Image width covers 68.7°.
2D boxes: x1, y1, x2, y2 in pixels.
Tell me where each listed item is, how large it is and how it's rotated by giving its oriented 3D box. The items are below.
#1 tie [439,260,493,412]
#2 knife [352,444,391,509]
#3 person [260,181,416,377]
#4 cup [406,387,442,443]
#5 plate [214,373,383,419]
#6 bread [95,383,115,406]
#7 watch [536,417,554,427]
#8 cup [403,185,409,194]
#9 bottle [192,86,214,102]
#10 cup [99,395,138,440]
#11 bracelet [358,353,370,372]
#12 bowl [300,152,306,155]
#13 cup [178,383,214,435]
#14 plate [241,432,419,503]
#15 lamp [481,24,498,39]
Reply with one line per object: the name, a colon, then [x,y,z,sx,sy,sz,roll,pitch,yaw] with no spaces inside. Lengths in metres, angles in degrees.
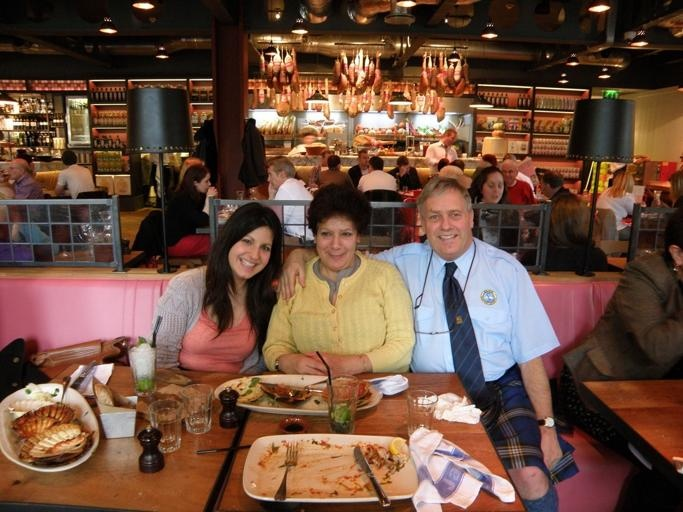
tie: [0.563,0.371,2.248,0.159,0.623,0.062,-15,-14,19]
knife: [0.095,0.648,1.476,0.042,0.020,0.238,-24,16,-4]
person: [-0.018,0.153,2.343,0.758,0.905,0.545,0,11,6]
cup: [0.266,0.529,1.664,0.141,0.152,0.132,0,2,0]
plate: [-0.202,0.529,1.864,0.380,0.038,0.228,1,7,3]
bread: [-0.832,0.492,1.749,0.025,0.081,0.074,-28,-28,10]
watch: [0.857,0.691,2.096,0.061,0.037,0.061,-5,-11,10]
cup: [1.009,-1.028,7.684,0.140,0.139,0.131,0,5,0]
bottle: [-2.852,-3.300,10.103,0.386,0.328,0.229,-1,12,-1]
cup: [-0.756,0.548,1.699,0.112,0.091,0.130,0,3,-13]
bracelet: [0.106,0.462,2.140,0.046,0.056,0.057,2,26,-12]
bowl: [-0.695,-1.858,9.000,0.067,0.044,0.063,-1,5,0]
cup: [-0.463,0.532,1.742,0.150,0.152,0.144,-1,2,0]
plate: [-0.045,0.628,1.520,0.361,0.036,0.202,0,17,1]
lamp: [1.756,-2.648,5.916,0.177,0.171,0.176,0,-3,5]
